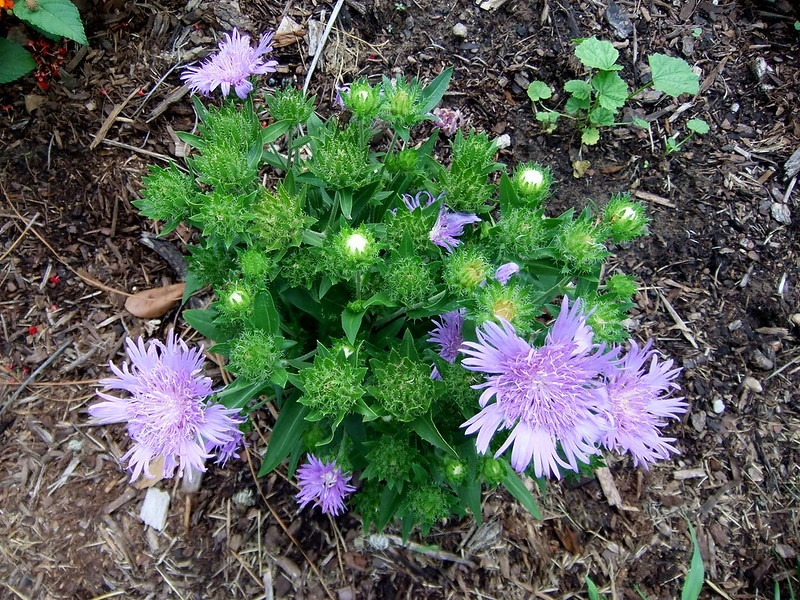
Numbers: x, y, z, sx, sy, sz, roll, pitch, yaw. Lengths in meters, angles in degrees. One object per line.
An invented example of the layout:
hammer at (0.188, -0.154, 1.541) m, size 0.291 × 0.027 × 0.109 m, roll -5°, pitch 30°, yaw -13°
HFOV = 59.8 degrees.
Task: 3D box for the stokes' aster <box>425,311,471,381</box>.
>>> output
stokes' aster at (0.344, 0.309, 4.752) m, size 0.362 × 0.158 × 0.400 m, roll -10°, pitch 75°, yaw 35°
